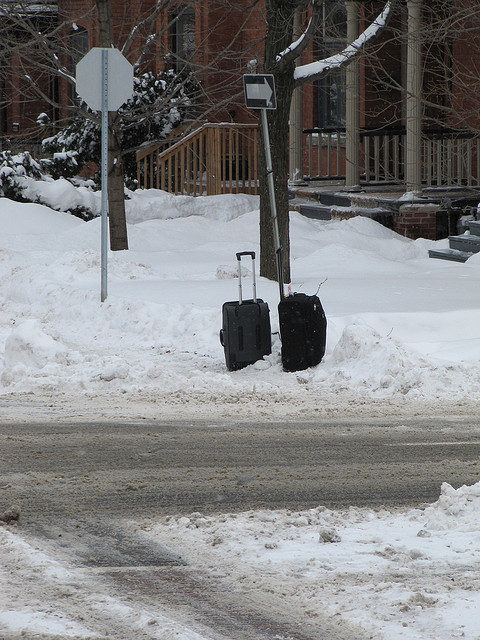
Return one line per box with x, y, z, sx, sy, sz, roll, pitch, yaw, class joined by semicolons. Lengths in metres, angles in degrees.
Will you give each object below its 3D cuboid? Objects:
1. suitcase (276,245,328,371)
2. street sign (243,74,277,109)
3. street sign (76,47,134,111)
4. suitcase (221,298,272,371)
0.567;0.106;11.754;0.407;0.670;0.298;-1;10;3;suitcase
0.210;-2.106;12.374;0.276;0.318;0.357;-1;11;0;street sign
-1.338;-2.470;13.779;0.568;0.636;0.392;-2;10;-8;street sign
0.100;0.109;12.002;0.404;0.605;0.330;-1;19;5;suitcase
